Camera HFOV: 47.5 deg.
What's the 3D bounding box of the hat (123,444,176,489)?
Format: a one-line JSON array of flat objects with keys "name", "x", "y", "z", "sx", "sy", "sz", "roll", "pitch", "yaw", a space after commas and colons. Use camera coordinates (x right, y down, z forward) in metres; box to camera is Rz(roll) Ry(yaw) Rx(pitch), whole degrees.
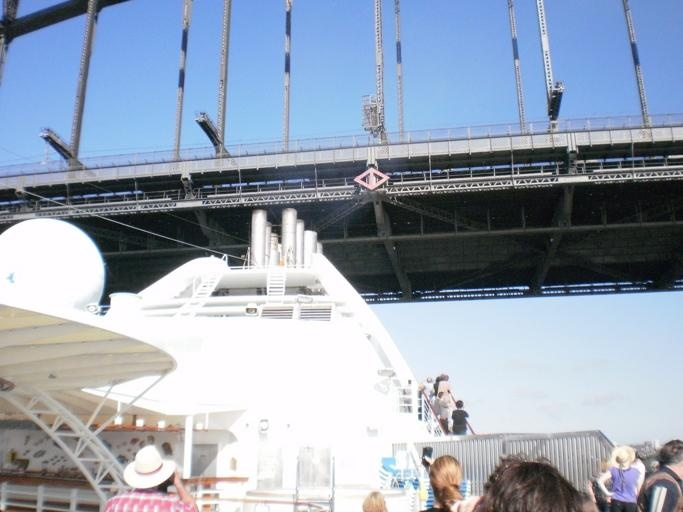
[{"name": "hat", "x": -3.483, "y": 3.944, "z": 14.463, "sx": 0.786, "sy": 0.879, "sz": 0.337, "roll": 1, "pitch": -55, "yaw": 11}]
